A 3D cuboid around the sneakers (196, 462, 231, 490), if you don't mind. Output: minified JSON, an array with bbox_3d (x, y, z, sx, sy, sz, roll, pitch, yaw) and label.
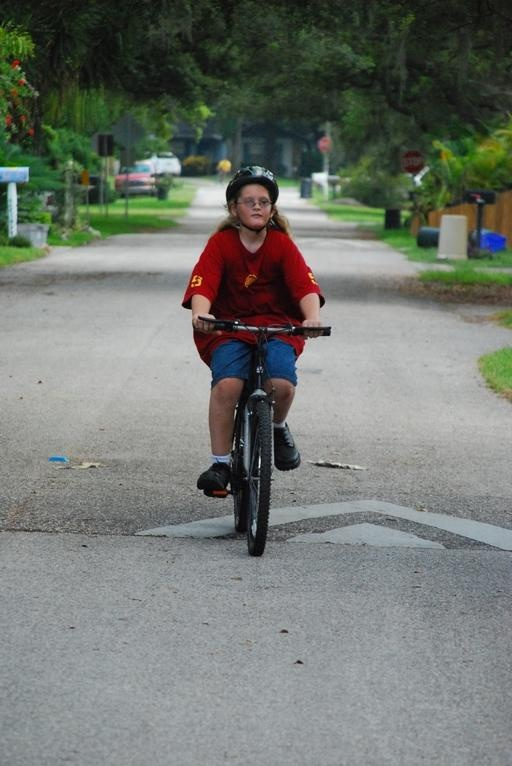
[{"bbox_3d":[-0.197,0.432,4.300,0.080,0.085,0.198,6,10,3],"label":"sneakers"}]

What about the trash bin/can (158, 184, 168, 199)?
[{"bbox_3d":[-5.611,-11.525,56.305,0.735,0.775,0.711,-6,16,-24],"label":"trash bin/can"}]

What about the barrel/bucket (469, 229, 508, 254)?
[{"bbox_3d":[6.222,-3.775,24.760,1.171,0.817,0.387,12,-9,-43],"label":"barrel/bucket"}]

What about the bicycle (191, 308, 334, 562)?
[{"bbox_3d":[0.025,0.232,4.147,0.522,1.062,0.816,-4,12,-23],"label":"bicycle"}]

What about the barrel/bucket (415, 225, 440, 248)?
[{"bbox_3d":[5.284,-4.534,28.316,1.057,0.616,0.654,2,-15,3],"label":"barrel/bucket"}]

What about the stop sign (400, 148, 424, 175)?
[{"bbox_3d":[5.511,-7.743,32.509,0.676,0.702,0.484,3,11,13],"label":"stop sign"}]

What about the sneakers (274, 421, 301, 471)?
[{"bbox_3d":[0.135,0.307,4.467,0.089,0.110,0.260,-30,19,7],"label":"sneakers"}]
